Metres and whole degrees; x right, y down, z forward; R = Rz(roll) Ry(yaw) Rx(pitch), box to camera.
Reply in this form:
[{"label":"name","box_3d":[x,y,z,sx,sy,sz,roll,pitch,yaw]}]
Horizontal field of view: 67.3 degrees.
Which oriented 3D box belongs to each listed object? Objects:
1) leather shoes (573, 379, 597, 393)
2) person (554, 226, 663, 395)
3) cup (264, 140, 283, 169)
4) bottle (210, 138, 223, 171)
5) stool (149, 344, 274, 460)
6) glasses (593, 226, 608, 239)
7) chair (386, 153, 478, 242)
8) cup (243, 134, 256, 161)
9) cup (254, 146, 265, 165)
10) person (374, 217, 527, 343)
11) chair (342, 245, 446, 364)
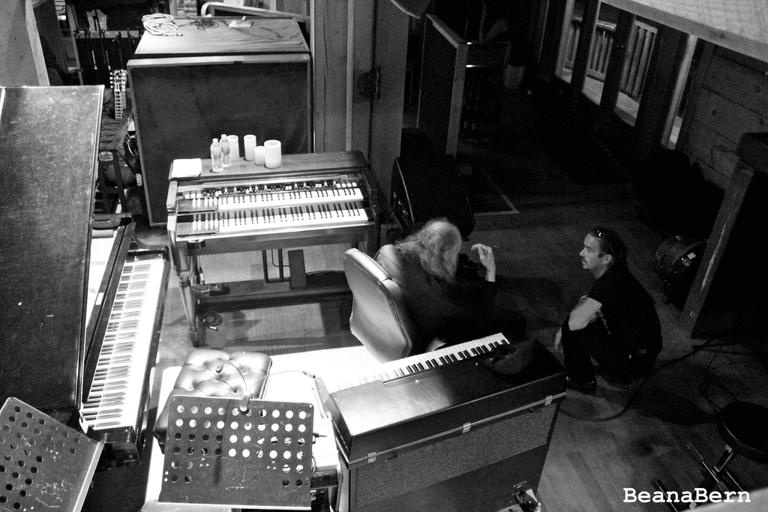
[{"label":"leather shoes","box_3d":[1.622,1.050,4.646,0.201,0.085,0.074,8,48,16]},{"label":"person","box_3d":[1.723,0.425,4.348,0.920,1.223,0.623,21,48,37]},{"label":"cup","box_3d":[-0.989,-0.887,5.094,0.160,0.215,0.142,-8,33,-9]},{"label":"bottle","box_3d":[-1.474,-0.882,5.063,0.119,0.232,0.249,-11,33,-13]},{"label":"stool","box_3d":[-1.226,0.919,4.165,0.796,0.310,0.793,13,51,-10]},{"label":"glasses","box_3d":[1.538,-0.163,4.109,0.022,0.071,0.082,-3,15,-43]},{"label":"chair","box_3d":[0.413,-0.582,5.225,0.681,0.748,0.804,-16,52,-14]},{"label":"cup","box_3d":[-1.207,-0.967,5.190,0.113,0.219,0.168,-10,33,-11]},{"label":"cup","box_3d":[-1.083,-0.887,5.165,0.154,0.140,0.120,1,44,-9]},{"label":"person","box_3d":[0.510,0.194,4.293,0.605,0.921,0.390,-32,57,-16]},{"label":"chair","box_3d":[0.095,0.338,4.013,0.530,0.775,0.571,-21,44,-27]}]
